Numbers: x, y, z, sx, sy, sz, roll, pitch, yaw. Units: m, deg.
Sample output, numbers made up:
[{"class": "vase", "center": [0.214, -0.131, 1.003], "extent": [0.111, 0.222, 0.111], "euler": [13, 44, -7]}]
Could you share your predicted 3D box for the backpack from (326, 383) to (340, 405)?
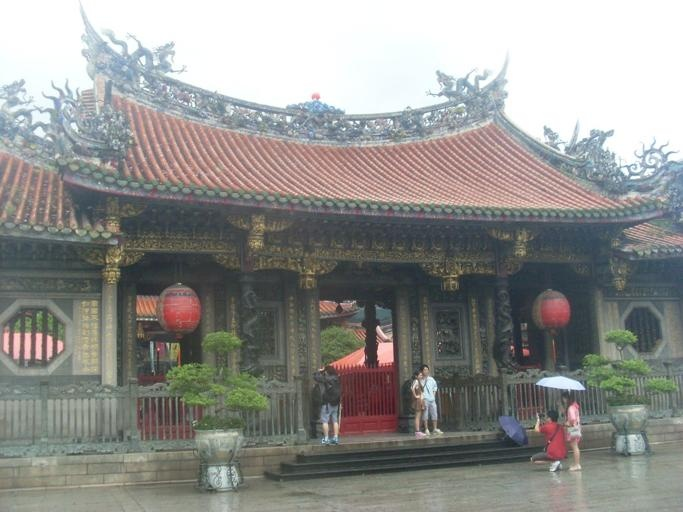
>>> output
[{"class": "backpack", "center": [-0.160, 2.820, 16.522], "extent": [0.283, 0.432, 0.165], "euler": [0, -13, -15]}]

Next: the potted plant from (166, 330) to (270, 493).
[{"class": "potted plant", "center": [-2.272, 2.972, 15.509], "extent": [1.653, 2.806, 2.364], "euler": [-2, -13, -5]}]

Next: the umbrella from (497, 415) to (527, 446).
[{"class": "umbrella", "center": [3.586, 3.684, 17.129], "extent": [0.444, 0.632, 0.755], "euler": [-11, -15, 30]}]

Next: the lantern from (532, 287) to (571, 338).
[{"class": "lantern", "center": [4.773, 1.220, 18.609], "extent": [0.924, 1.048, 0.904], "euler": [0, -8, -7]}]

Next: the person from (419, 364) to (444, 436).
[{"class": "person", "center": [1.883, 3.158, 17.869], "extent": [0.488, 1.298, 0.564], "euler": [2, -5, -20]}]

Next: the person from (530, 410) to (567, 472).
[{"class": "person", "center": [4.116, 3.668, 15.923], "extent": [0.828, 1.117, 0.852], "euler": [4, 0, -7]}]

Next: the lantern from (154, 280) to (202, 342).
[{"class": "lantern", "center": [-3.280, 1.098, 16.562], "extent": [0.683, 1.115, 0.624], "euler": [6, -3, -29]}]

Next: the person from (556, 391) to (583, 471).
[{"class": "person", "center": [4.500, 3.342, 15.699], "extent": [0.475, 1.566, 0.582], "euler": [3, 0, -2]}]

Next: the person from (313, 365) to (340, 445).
[{"class": "person", "center": [-0.267, 3.064, 16.737], "extent": [0.550, 1.561, 0.631], "euler": [-2, -7, 26]}]
